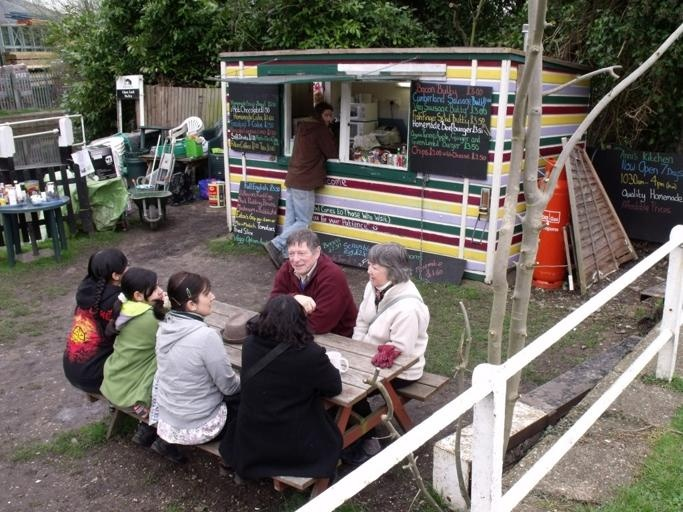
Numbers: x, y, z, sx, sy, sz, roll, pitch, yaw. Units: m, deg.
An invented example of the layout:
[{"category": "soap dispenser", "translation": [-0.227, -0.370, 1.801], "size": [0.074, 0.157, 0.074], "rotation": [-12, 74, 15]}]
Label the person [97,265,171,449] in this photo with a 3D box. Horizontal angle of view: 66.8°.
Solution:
[{"category": "person", "translation": [-1.624, 0.814, 4.387], "size": [0.736, 1.360, 0.601], "rotation": [-5, 10, -33]}]

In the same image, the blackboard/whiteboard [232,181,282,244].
[{"category": "blackboard/whiteboard", "translation": [-1.491, -0.764, 9.322], "size": [0.949, 1.243, 0.094], "rotation": [10, 2, 33]}]

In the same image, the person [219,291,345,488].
[{"category": "person", "translation": [-0.395, 0.902, 3.465], "size": [0.778, 1.240, 0.297], "rotation": [3, 16, 13]}]

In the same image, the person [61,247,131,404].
[{"category": "person", "translation": [-2.068, 0.644, 4.647], "size": [0.519, 1.343, 0.764], "rotation": [16, 20, 27]}]

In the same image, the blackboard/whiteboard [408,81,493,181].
[{"category": "blackboard/whiteboard", "translation": [1.570, -1.786, 7.265], "size": [1.227, 1.318, 0.064], "rotation": [13, 15, 35]}]

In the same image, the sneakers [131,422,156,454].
[{"category": "sneakers", "translation": [-1.658, 1.504, 4.296], "size": [0.129, 0.183, 0.368], "rotation": [8, -11, 6]}]

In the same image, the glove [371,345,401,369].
[{"category": "glove", "translation": [0.336, 0.746, 3.917], "size": [0.133, 0.074, 0.184], "rotation": [-6, 21, 10]}]

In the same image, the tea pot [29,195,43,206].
[{"category": "tea pot", "translation": [-4.895, -0.900, 8.315], "size": [0.182, 0.095, 0.250], "rotation": [-7, 25, -33]}]

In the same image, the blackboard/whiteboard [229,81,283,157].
[{"category": "blackboard/whiteboard", "translation": [-1.460, -2.424, 9.020], "size": [1.092, 1.317, 0.163], "rotation": [9, 13, 32]}]

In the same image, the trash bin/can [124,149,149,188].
[{"category": "trash bin/can", "translation": [-5.346, -2.268, 13.496], "size": [0.840, 0.965, 0.859], "rotation": [-1, 6, -6]}]

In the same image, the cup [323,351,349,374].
[{"category": "cup", "translation": [-0.026, 0.775, 3.818], "size": [0.194, 0.152, 0.125], "rotation": [8, 1, 11]}]
